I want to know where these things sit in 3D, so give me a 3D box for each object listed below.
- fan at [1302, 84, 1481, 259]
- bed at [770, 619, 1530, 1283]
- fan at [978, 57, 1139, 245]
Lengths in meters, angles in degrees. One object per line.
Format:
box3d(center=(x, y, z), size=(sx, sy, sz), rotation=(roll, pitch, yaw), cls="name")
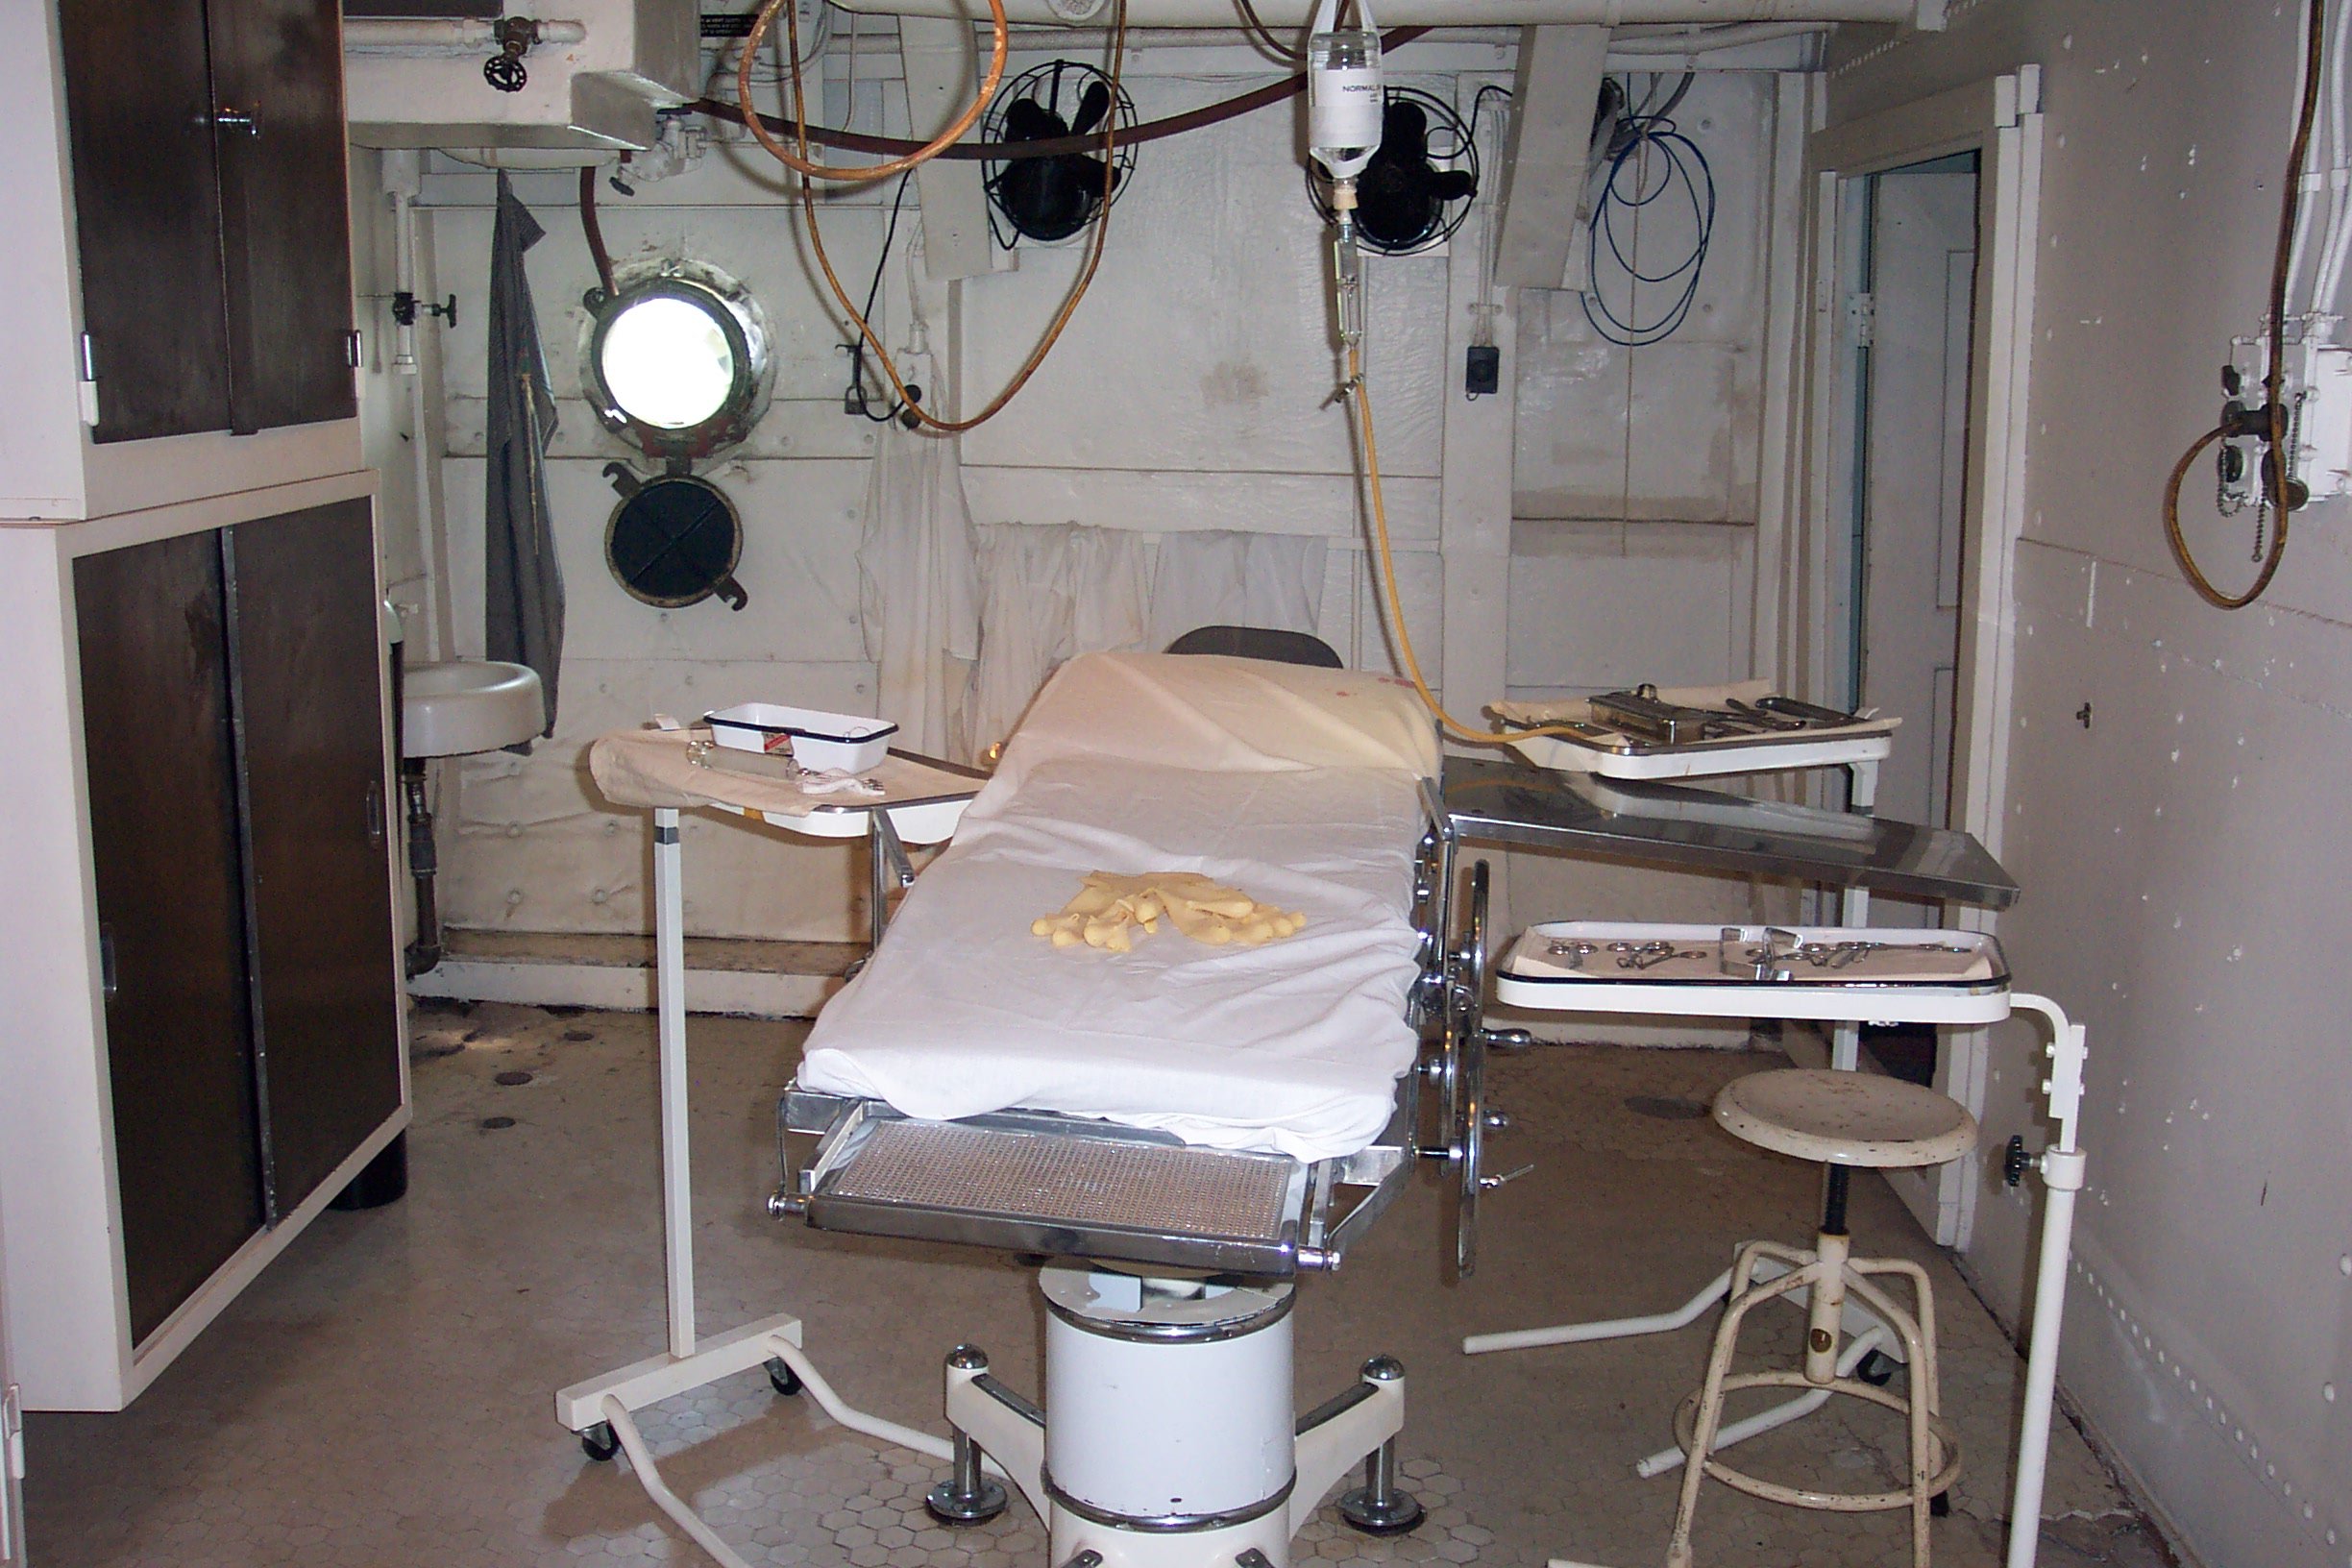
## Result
box3d(center=(0.788, -1.953, 6.049), size=(0.387, 0.520, 0.197), rotation=(1, 12, 7), cls="fan")
box3d(center=(0.044, 0.338, 3.849), size=(1.008, 0.536, 1.764), rotation=(6, 34, 13), cls="bed")
box3d(center=(-0.408, -2.012, 6.035), size=(0.666, 0.673, 0.189), rotation=(0, 1, 3), cls="fan")
